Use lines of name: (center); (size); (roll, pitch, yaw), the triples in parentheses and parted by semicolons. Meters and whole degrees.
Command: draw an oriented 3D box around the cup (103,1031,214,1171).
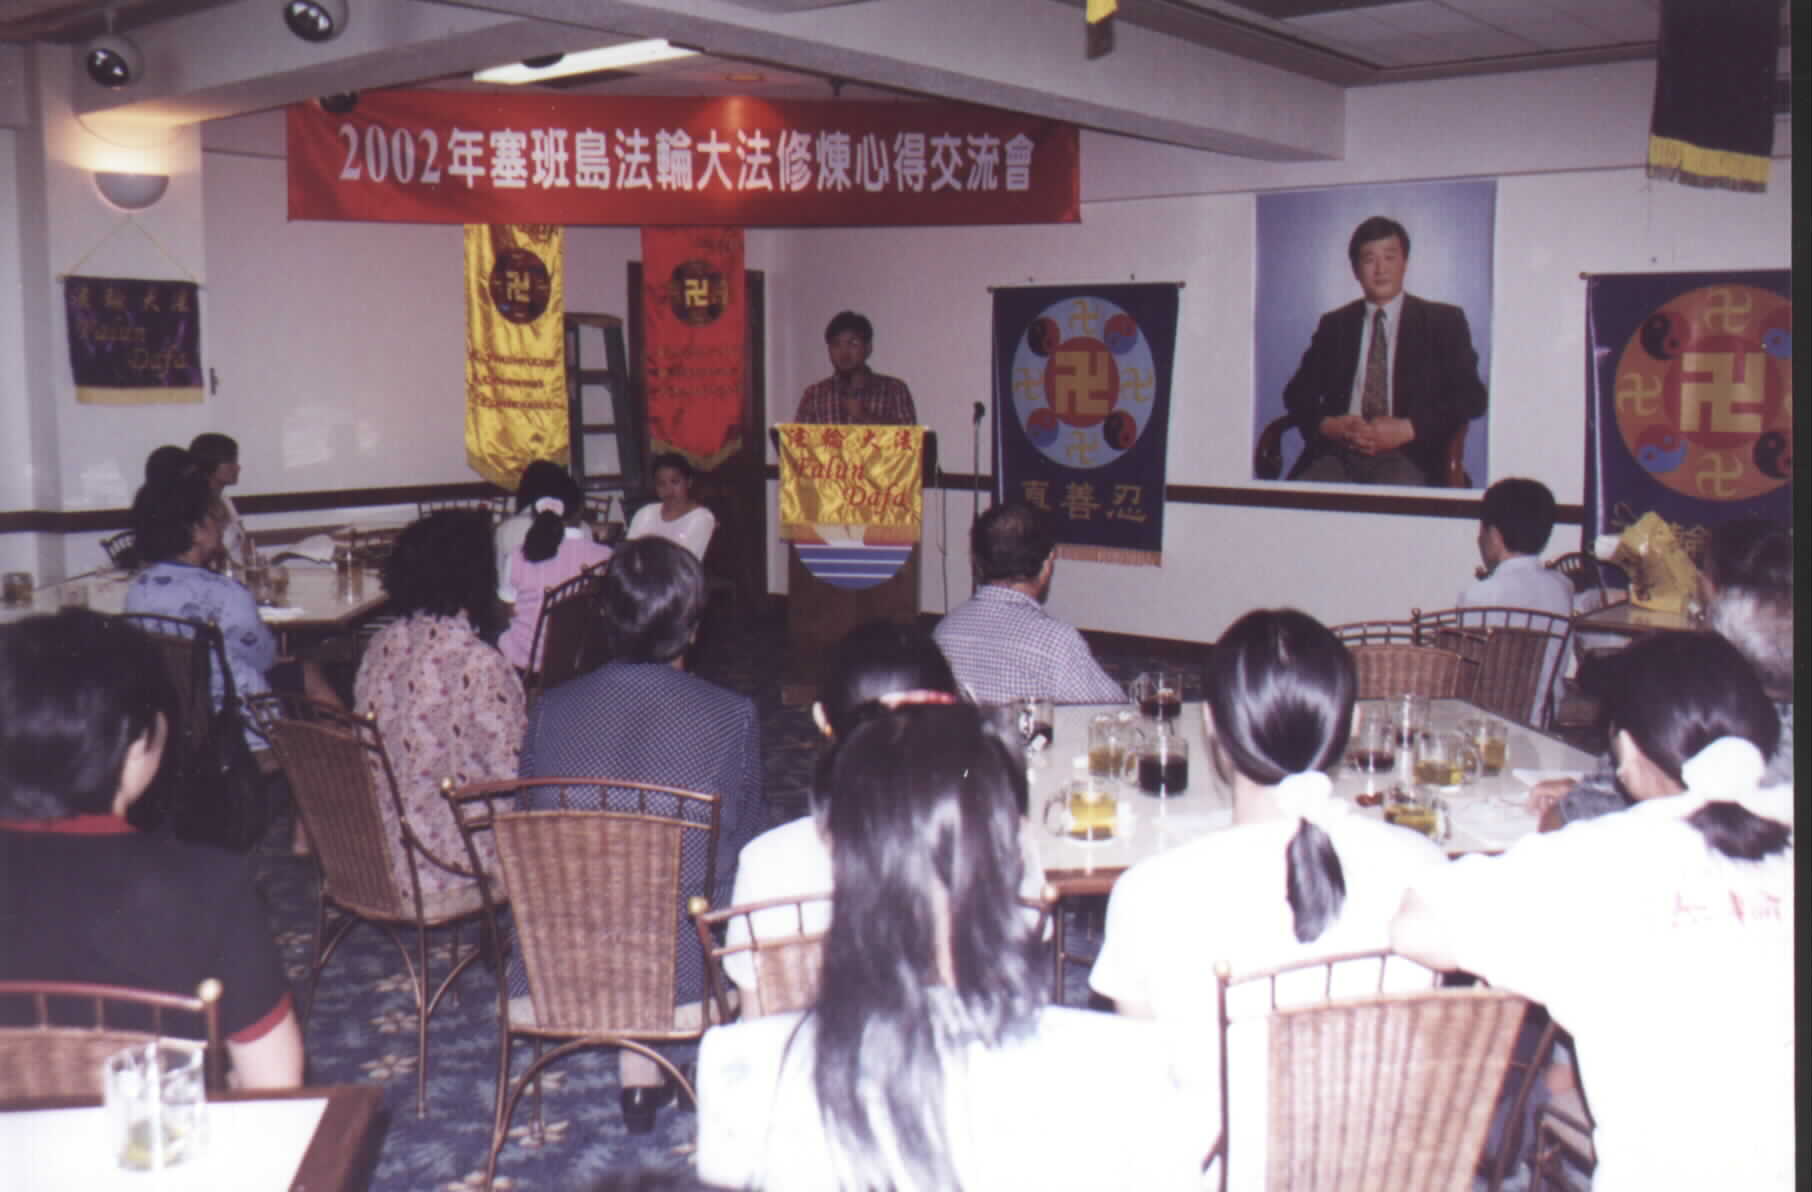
cup: (-1.348, 0.928, 2.731); (0.184, 0.230, 0.205); (0, 4, -3)

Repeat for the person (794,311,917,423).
person: (-0.297, -1.254, 8.127); (0.673, 0.669, 0.361); (-1, 7, 9)

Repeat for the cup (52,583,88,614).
cup: (-3.060, 0.007, 5.318); (0.085, 0.098, 0.089); (2, 0, 0)

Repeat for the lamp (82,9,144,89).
lamp: (-3.669, -2.510, 6.688); (0.200, 0.342, 0.326); (-8, 12, -37)

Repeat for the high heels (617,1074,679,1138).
high heels: (-0.732, 1.433, 4.143); (0.090, 0.111, 0.266); (2, 8, 8)
